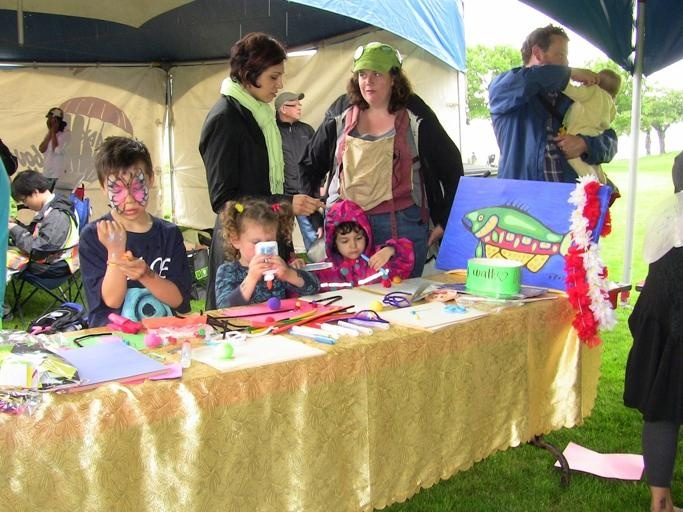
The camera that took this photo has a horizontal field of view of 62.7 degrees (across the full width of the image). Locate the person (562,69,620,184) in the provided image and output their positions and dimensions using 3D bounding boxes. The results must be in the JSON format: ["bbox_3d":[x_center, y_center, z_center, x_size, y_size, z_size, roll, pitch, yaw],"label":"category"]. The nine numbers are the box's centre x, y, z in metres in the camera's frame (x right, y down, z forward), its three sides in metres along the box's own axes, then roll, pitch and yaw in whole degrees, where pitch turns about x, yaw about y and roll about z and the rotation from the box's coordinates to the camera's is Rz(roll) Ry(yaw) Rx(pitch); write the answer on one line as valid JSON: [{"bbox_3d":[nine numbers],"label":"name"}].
[{"bbox_3d":[1.735,-0.926,3.962,0.309,0.823,0.881,4,12,27],"label":"person"}]

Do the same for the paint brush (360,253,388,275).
[{"bbox_3d":[0.165,0.032,3.039,0.086,0.061,0.297,-3,7,-16],"label":"paint brush"}]

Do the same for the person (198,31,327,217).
[{"bbox_3d":[-0.513,-0.731,3.075,0.503,0.934,0.328,-8,12,-30],"label":"person"}]

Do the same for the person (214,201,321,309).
[{"bbox_3d":[-0.380,-0.002,2.728,0.477,0.745,0.380,-6,4,-26],"label":"person"}]

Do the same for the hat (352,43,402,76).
[{"bbox_3d":[0.214,-1.108,3.190,0.177,0.128,0.229,4,5,33],"label":"hat"}]
